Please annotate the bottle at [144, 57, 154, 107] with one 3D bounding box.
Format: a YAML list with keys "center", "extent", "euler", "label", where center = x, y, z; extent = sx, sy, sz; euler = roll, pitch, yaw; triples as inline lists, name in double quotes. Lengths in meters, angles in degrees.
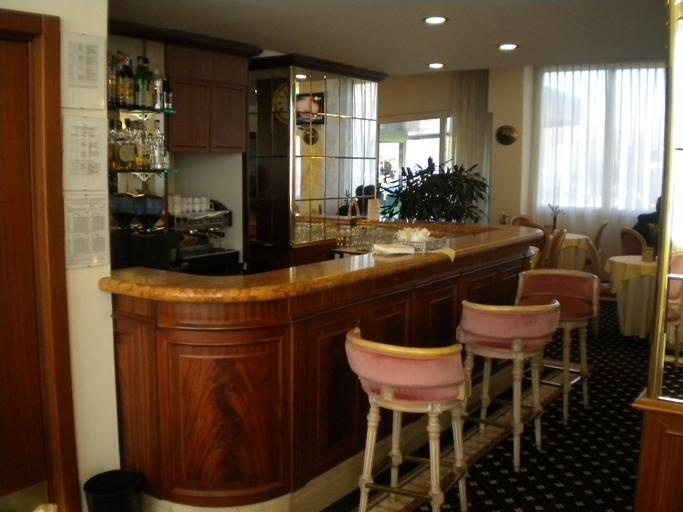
- center: [-1.710, -1.549, 5.132]
  extent: [0.080, 0.466, 0.308]
  euler: [-4, 8, -17]
  label: "bottle"

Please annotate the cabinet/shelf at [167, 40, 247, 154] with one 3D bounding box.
- center: [-1.332, -1.557, 5.588]
  extent: [0.363, 1.086, 1.079]
  euler: [3, 5, 31]
  label: "cabinet/shelf"

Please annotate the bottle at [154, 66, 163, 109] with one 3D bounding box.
- center: [-1.619, -1.461, 5.121]
  extent: [0.084, 0.333, 0.168]
  euler: [-4, 8, -14]
  label: "bottle"

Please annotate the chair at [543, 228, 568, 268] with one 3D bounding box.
- center: [2.614, -0.079, 7.107]
  extent: [0.271, 0.518, 0.916]
  euler: [1, 9, 19]
  label: "chair"

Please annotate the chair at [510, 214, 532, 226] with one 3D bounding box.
- center: [2.558, -0.513, 8.285]
  extent: [0.231, 0.243, 0.245]
  euler: [6, 20, 38]
  label: "chair"

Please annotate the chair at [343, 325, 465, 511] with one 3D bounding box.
- center: [0.386, 0.974, 3.294]
  extent: [0.653, 1.170, 0.568]
  euler: [0, 8, 13]
  label: "chair"

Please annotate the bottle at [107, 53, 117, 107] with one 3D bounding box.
- center: [-1.956, -1.505, 4.960]
  extent: [0.067, 0.450, 0.127]
  euler: [-4, 8, -11]
  label: "bottle"

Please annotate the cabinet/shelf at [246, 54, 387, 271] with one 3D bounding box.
- center: [-0.355, -1.053, 6.518]
  extent: [0.906, 2.780, 2.186]
  euler: [7, 8, 41]
  label: "cabinet/shelf"

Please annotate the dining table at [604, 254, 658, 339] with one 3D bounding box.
- center: [3.200, 0.450, 6.378]
  extent: [0.398, 0.914, 0.523]
  euler: [-10, 11, -44]
  label: "dining table"
